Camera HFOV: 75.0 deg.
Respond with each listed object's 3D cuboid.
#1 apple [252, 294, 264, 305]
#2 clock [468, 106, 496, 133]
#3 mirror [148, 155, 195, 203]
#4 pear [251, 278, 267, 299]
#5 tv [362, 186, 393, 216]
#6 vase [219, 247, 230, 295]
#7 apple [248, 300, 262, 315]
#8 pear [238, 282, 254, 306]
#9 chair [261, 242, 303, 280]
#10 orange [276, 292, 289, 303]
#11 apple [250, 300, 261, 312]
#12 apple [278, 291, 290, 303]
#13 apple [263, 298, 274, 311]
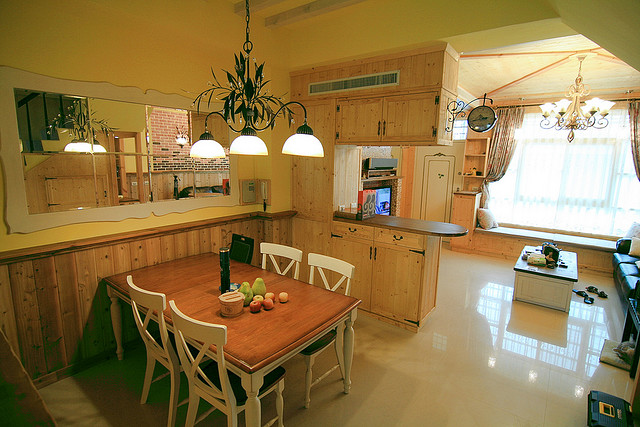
[{"bbox_3d":[-0.685,0.956,4.679,0.089,0.084,0.090,7,13,19],"label":"apple"},{"bbox_3d":[2.357,-1.386,6.103,0.365,0.352,0.133,4,12,22],"label":"clock"},{"bbox_3d":[-2.009,-0.482,5.670,0.617,0.624,0.065,-9,14,-40],"label":"mirror"},{"bbox_3d":[-0.693,0.834,4.754,0.178,0.241,0.174,-7,10,-35],"label":"pear"},{"bbox_3d":[0.999,-0.235,7.331,0.193,0.543,0.629,6,11,35],"label":"tv"},{"bbox_3d":[-1.077,0.640,4.729,0.107,0.510,0.279,-3,11,-13],"label":"vase"},{"bbox_3d":[-0.714,1.023,4.606,0.126,0.120,0.125,-7,11,-37],"label":"apple"},{"bbox_3d":[-0.834,0.902,4.695,0.180,0.244,0.147,0,11,0],"label":"pear"},{"bbox_3d":[-0.560,0.668,5.876,0.470,0.638,0.436,7,12,26],"label":"chair"},{"bbox_3d":[-0.420,0.952,4.798,0.105,0.066,0.106,4,12,8],"label":"orange"},{"bbox_3d":[-0.712,1.017,4.594,0.100,0.096,0.101,8,12,44],"label":"apple"},{"bbox_3d":[-0.409,0.950,4.799,0.099,0.092,0.105,13,17,42],"label":"apple"},{"bbox_3d":[-0.576,1.012,4.673,0.107,0.103,0.109,-4,6,-3],"label":"apple"}]
